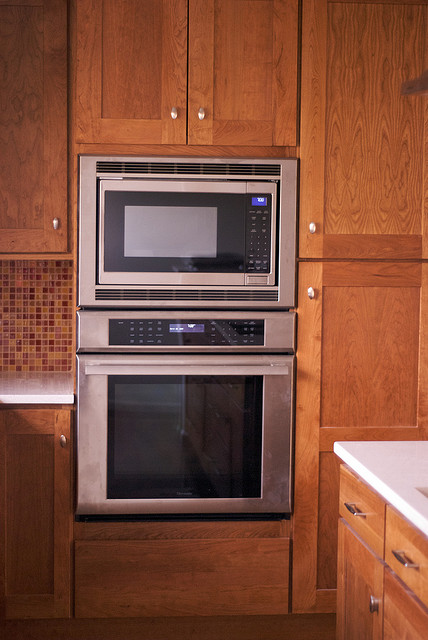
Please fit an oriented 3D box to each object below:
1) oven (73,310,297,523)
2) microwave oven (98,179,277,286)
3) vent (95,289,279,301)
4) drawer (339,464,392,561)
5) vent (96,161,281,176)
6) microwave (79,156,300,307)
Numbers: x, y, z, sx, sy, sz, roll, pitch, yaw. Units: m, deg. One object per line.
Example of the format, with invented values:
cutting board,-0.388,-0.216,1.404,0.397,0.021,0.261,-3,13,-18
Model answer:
oven,-0.103,0.243,2.094,0.684,0.766,0.515,0,17,-8
microwave oven,-0.102,-0.271,2.047,0.617,0.469,0.351,-1,3,-12
vent,-0.082,-0.074,1.889,0.560,0.042,0.024,1,2,-3
drawer,0.312,0.395,1.285,0.086,0.081,0.147,2,4,-8
vent,-0.075,-0.461,1.879,0.561,0.042,0.009,1,2,-4
microwave,-0.072,-0.378,1.934,0.700,0.569,0.402,2,-2,-4
